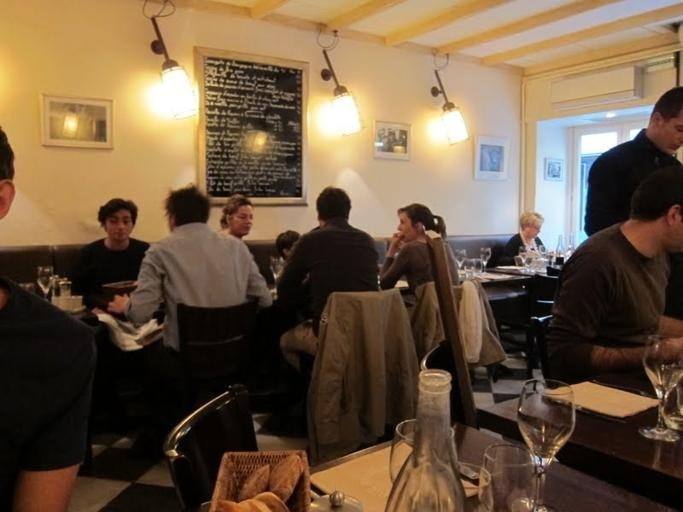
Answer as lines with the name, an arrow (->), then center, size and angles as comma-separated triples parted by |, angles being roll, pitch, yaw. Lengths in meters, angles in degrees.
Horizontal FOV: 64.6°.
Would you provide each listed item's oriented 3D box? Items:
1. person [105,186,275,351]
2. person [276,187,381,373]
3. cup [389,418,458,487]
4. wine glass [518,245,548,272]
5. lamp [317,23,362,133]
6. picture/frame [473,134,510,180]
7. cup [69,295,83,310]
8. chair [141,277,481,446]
person -> -0.973, 0.074, 3.293 | 0.963, 0.889, 0.590 | -9, 29, -24
person -> -0.081, 0.213, 3.429 | 0.567, 1.193, 0.650 | -1, -4, -27
cup -> 0.150, 0.381, 1.166 | 0.161, 0.162, 0.162 | 0, -4, 0
wine glass -> 1.857, 0.043, 5.260 | 0.314, 0.335, 0.191 | -1, -1, 9
lamp -> -0.023, -1.716, 5.299 | 0.351, 1.003, 0.247 | -6, 10, -33
picture/frame -> 1.837, -1.247, 6.725 | 0.586, 0.522, 0.064 | -3, 3, -38
cup -> -1.458, 0.259, 2.980 | 0.075, 0.074, 0.075 | 3, 5, 0
chair -> -0.190, 0.489, 2.646 | 0.995, 0.936, 0.456 | 1, -2, -23
